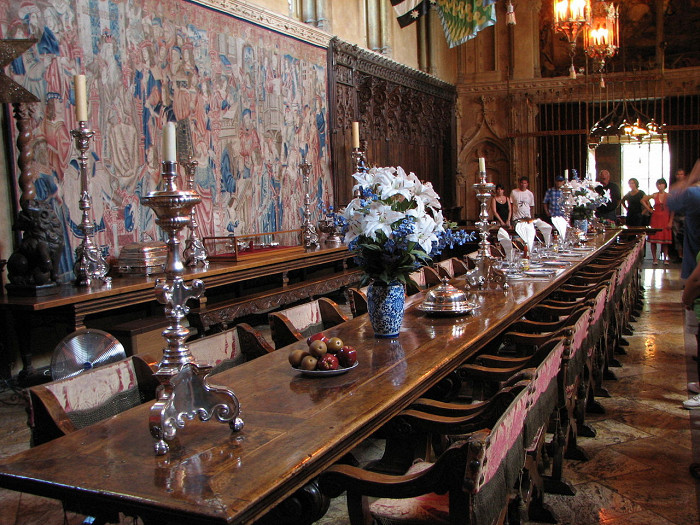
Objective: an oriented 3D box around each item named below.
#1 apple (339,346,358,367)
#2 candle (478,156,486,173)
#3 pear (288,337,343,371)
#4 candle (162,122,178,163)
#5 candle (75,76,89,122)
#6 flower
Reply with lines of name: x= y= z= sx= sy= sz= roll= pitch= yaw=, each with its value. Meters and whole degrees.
apple: x=-0.013 y=0.460 z=2.738 sx=0.076 sy=0.107 sz=0.080 roll=-6 pitch=-6 yaw=33
candle: x=1.170 y=-0.865 z=4.956 sx=0.039 sy=0.140 sz=0.250 roll=2 pitch=8 yaw=16
pear: x=-0.173 y=0.438 z=2.720 sx=0.210 sy=0.166 sz=0.211 roll=4 pitch=9 yaw=-32
candle: x=-0.597 y=-0.399 z=1.860 sx=0.038 sy=0.132 sz=0.068 roll=-3 pitch=8 yaw=-22
candle: x=-2.504 y=-1.534 z=5.224 sx=0.093 sy=0.434 sz=0.208 roll=-5 pitch=9 yaw=-30
flower: x=0.227 y=-0.244 z=3.410 sx=0.515 sy=0.661 sz=0.605 roll=3 pitch=14 yaw=-3
